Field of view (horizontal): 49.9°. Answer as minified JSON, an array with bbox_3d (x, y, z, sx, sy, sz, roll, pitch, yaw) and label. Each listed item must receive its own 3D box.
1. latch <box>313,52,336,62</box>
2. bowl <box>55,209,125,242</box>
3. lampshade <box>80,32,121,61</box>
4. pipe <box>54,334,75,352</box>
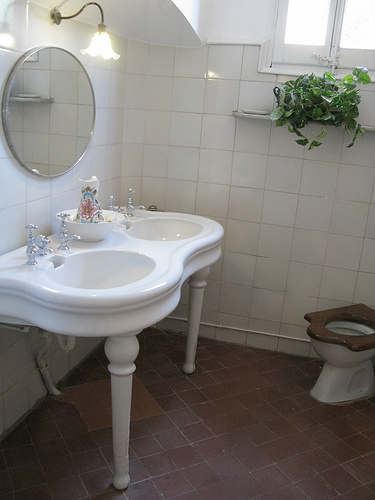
[{"bbox_3d":[0.722,-1.006,2.124,0.080,0.019,0.058,17,-3,16],"label":"latch"},{"bbox_3d":[-0.388,-0.109,1.657,0.237,0.114,0.339,3,13,-9],"label":"bowl"},{"bbox_3d":[-0.347,-0.781,1.591,0.125,0.075,0.124,17,17,26],"label":"lampshade"},{"bbox_3d":[-0.458,0.347,1.529,0.083,0.101,0.037,-3,-2,-6],"label":"pipe"}]
